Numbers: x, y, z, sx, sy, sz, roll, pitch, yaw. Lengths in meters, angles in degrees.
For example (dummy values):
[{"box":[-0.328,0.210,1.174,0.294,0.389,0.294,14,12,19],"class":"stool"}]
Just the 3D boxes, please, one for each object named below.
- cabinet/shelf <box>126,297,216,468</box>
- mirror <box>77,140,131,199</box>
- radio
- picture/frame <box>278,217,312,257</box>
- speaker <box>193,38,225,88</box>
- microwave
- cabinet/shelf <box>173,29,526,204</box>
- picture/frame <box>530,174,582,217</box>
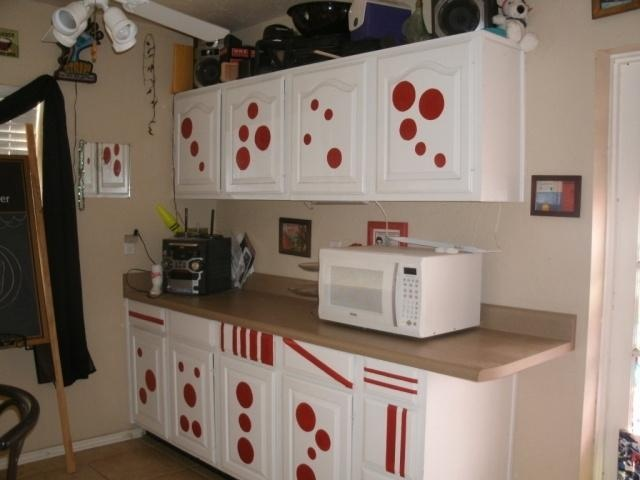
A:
[{"box":[-0.887,0.836,3.678,0.962,0.936,0.503,8,16,35],"class":"cabinet/shelf"},{"box":[-1.547,-0.509,3.692,0.034,0.434,0.406,2,2,45],"class":"mirror"},{"box":[-0.907,0.168,3.738,0.415,0.409,0.360,2,4,31],"class":"radio"},{"box":[-0.166,-0.026,3.656,0.263,0.266,0.021,3,4,45],"class":"picture/frame"},{"box":[-0.799,-1.260,3.741,0.226,0.332,0.084,4,6,25],"class":"speaker"},{"box":[0.371,0.271,2.824,0.643,0.392,0.479,0,-4,42],"class":"microwave"},{"box":[0.181,-0.637,2.932,1.773,0.836,0.348,4,7,26],"class":"cabinet/shelf"},{"box":[1.197,-0.228,2.624,0.194,0.192,0.015,8,5,42],"class":"picture/frame"}]
